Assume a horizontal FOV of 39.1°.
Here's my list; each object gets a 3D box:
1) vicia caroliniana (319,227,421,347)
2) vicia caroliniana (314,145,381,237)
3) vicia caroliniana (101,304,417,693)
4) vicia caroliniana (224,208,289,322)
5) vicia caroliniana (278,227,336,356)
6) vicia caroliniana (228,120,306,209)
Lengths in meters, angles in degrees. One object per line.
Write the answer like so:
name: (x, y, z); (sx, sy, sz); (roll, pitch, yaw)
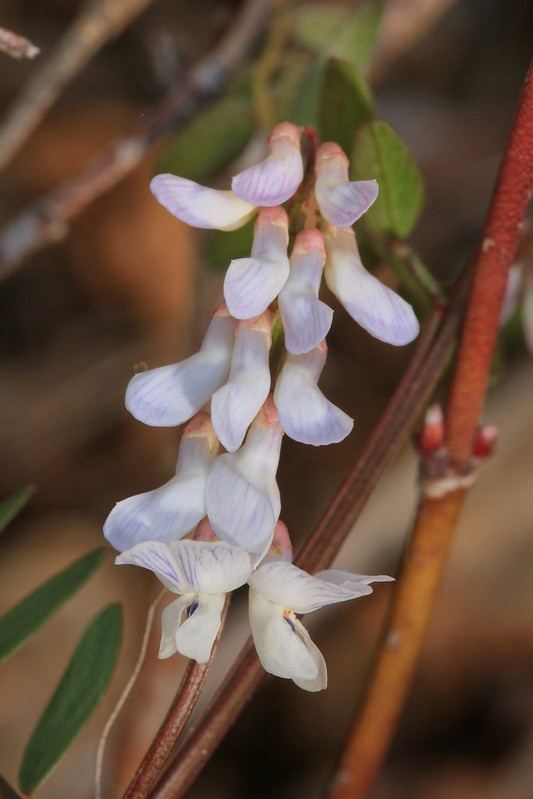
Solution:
vicia caroliniana: (0.055, -0.077, 0.501); (0.036, 0.032, 0.108); (-10, 44, -22)
vicia caroliniana: (0.038, -0.126, 0.467); (0.034, 0.030, 0.064); (11, 35, -31)
vicia caroliniana: (0.006, 0.061, 0.521); (0.202, 0.225, 0.192); (2, -5, 11)
vicia caroliniana: (0.003, -0.077, 0.446); (0.030, 0.022, 0.079); (0, 49, 24)
vicia caroliniana: (0.026, -0.067, 0.451); (0.030, 0.086, 0.027); (0, -17, 19)
vicia caroliniana: (0.004, -0.137, 0.452); (0.043, 0.022, 0.063); (13, 58, 16)
